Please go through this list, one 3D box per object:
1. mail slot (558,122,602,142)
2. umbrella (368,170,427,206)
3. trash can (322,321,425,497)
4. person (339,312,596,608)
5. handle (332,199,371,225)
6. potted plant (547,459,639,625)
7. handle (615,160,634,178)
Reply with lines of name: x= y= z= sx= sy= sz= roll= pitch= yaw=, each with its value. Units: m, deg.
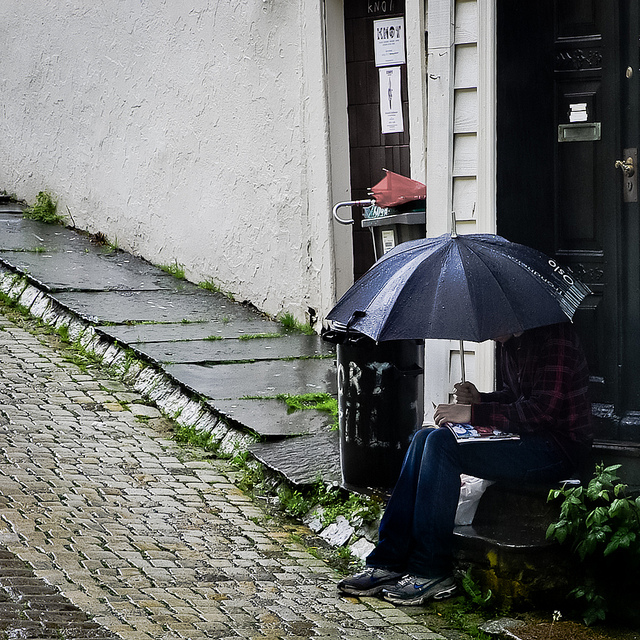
mail slot: x=1.460 y=-1.052 z=6.231 sx=0.245 sy=0.099 sz=0.034 roll=3 pitch=-3 yaw=29
umbrella: x=0.497 y=-0.848 z=7.204 sx=0.358 sy=0.226 sz=0.123 roll=3 pitch=-3 yaw=26
trash can: x=0.294 y=0.456 z=6.347 sx=0.547 sy=0.997 sz=0.545 roll=-14 pitch=21 yaw=-41
person: x=0.825 y=0.538 z=5.510 sx=1.038 sy=1.812 sz=0.715 roll=10 pitch=-12 yaw=-16
handle: x=0.199 y=-0.719 z=7.492 sx=0.236 sy=0.261 sz=0.059 roll=-3 pitch=-28 yaw=4
potted plant: x=1.251 y=1.019 z=5.109 sx=0.408 sy=0.716 sz=0.550 roll=3 pitch=-3 yaw=13
handle: x=1.683 y=-0.825 z=6.090 sx=0.088 sy=0.100 sz=0.066 roll=-1 pitch=11 yaw=14
